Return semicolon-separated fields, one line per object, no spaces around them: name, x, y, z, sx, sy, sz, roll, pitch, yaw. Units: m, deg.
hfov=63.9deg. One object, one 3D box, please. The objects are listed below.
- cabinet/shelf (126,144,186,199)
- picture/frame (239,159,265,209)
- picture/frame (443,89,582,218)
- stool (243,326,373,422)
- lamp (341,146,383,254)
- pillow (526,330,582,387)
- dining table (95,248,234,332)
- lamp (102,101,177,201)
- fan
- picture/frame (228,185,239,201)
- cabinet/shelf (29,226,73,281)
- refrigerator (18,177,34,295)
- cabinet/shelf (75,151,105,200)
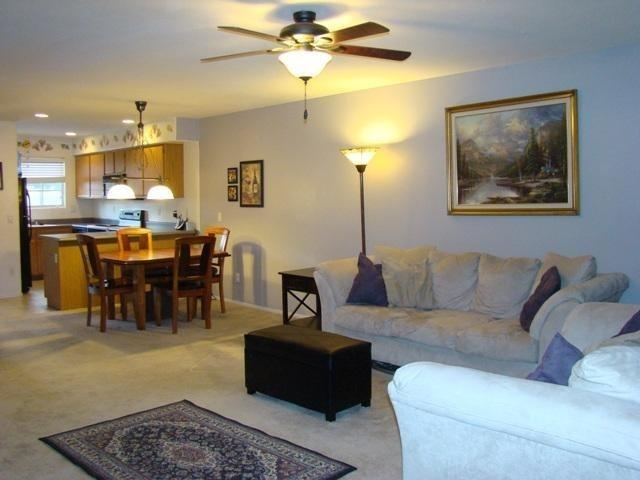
cabinet/shelf;-2.522;-1.057;7.968;0.183;0.644;1.092;0;2;-35
picture/frame;-0.954;-0.777;7.115;0.102;0.645;0.509;-7;10;-39
picture/frame;1.839;-0.811;4.745;1.401;1.117;0.093;-1;-1;37
stool;-0.113;1.008;4.084;0.984;0.641;0.679;3;-16;41
lamp;0.444;-0.431;5.710;0.370;1.211;0.550;1;8;5
pillow;1.102;0.558;2.461;0.251;0.239;0.073;36;-12;-27
dining table;-2.106;0.469;6.095;0.927;1.092;1.362;-3;8;-23
lamp;-2.618;-1.180;7.428;0.839;1.305;2.343;-2;7;-17
fan;-0.001;-1.279;3.208;1.173;0.188;0.587;0;7;2
picture/frame;-1.251;-0.677;7.379;0.018;0.220;0.231;-6;8;-42
cabinet/shelf;-4.935;0.227;9.211;0.367;0.959;0.788;2;8;16
refrigerator;-4.705;-0.086;8.121;0.164;1.814;0.547;-3;9;-23
cabinet/shelf;-4.418;-1.240;9.798;0.265;0.824;1.337;-6;9;-37
